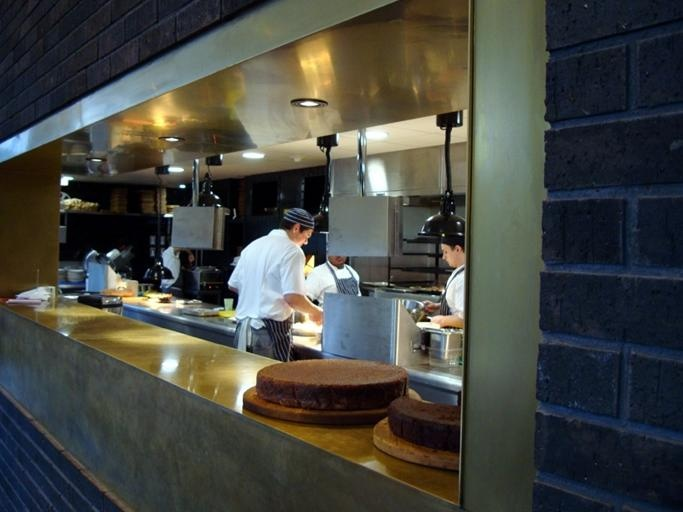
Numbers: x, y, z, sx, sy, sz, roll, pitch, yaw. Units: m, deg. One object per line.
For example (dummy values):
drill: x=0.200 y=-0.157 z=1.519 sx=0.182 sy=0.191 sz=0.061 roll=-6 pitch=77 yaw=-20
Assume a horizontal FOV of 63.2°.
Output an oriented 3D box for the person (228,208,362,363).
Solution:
person: x=-0.464 y=0.253 z=3.609 sx=0.606 sy=0.842 sz=0.268 roll=1 pitch=2 yaw=25

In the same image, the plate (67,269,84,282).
plate: x=-4.025 y=0.299 z=8.321 sx=0.225 sy=0.177 sz=0.231 roll=3 pitch=-2 yaw=-15

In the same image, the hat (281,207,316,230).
hat: x=-0.293 y=-0.253 z=3.757 sx=0.191 sy=0.109 sz=0.138 roll=10 pitch=6 yaw=-29

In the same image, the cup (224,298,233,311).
cup: x=-0.991 y=0.420 z=4.826 sx=0.104 sy=0.123 sz=0.110 roll=-1 pitch=-8 yaw=0
